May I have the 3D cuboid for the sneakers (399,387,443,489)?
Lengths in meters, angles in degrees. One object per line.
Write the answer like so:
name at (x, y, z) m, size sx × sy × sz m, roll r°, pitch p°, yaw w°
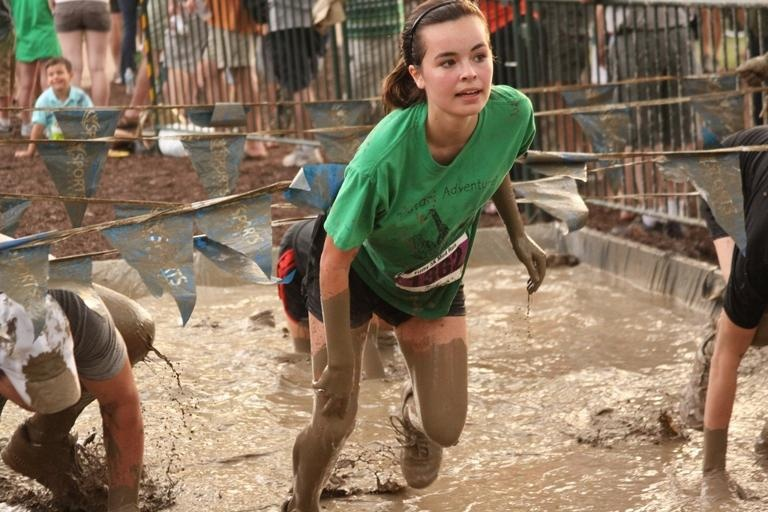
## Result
sneakers at (0.179, 1.054, 7.735) m, size 0.240 × 0.597 × 0.251 m, roll -7°, pitch 4°, yaw -1°
